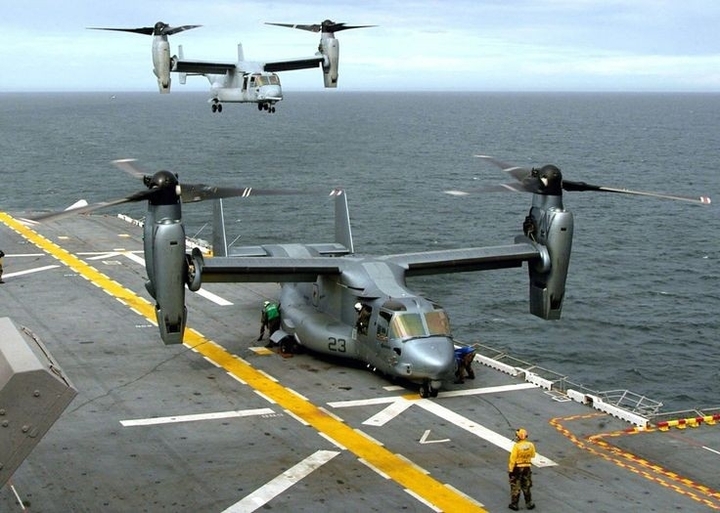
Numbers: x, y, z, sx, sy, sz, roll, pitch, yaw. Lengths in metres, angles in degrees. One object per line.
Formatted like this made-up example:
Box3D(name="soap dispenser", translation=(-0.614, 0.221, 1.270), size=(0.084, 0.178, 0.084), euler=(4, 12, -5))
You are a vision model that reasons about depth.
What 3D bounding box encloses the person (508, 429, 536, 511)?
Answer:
Box3D(name="person", translation=(5.569, 7.191, 23.022), size=(1.013, 2.719, 1.274), euler=(8, 21, 12))
